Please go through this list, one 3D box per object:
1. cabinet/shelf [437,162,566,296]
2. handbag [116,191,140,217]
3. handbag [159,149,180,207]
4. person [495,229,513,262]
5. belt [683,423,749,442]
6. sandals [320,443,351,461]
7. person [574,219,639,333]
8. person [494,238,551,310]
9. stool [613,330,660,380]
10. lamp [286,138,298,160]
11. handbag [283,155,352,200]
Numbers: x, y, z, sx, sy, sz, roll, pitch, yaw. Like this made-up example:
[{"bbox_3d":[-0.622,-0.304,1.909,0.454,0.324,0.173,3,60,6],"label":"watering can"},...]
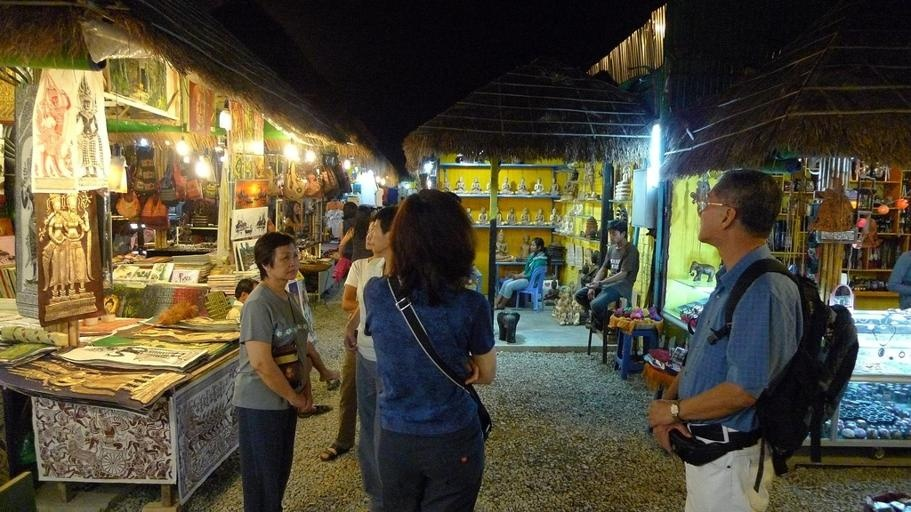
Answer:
[{"bbox_3d":[0.904,-0.591,10.749,3.161,2.686,0.993,0,-1,-5],"label":"cabinet/shelf"},{"bbox_3d":[-5.678,-0.896,10.293,0.459,0.559,0.317,1,-5,-27],"label":"handbag"},{"bbox_3d":[-5.426,-1.472,11.174,0.253,0.987,0.366,-1,4,-18],"label":"handbag"},{"bbox_3d":[1.033,-0.201,13.196,0.595,0.748,0.598,0,-2,-6],"label":"person"},{"bbox_3d":[2.149,1.482,4.953,0.282,0.087,0.202,1,1,7],"label":"belt"},{"bbox_3d":[-1.395,2.288,6.940,0.385,0.062,0.138,-9,24,-41],"label":"sandals"},{"bbox_3d":[2.658,0.377,10.094,0.818,1.939,1.121,-1,4,-13],"label":"person"},{"bbox_3d":[1.300,0.380,12.135,1.007,1.539,0.585,9,9,-9],"label":"person"},{"bbox_3d":[2.868,1.440,9.151,0.762,0.930,0.683,-1,8,-1],"label":"stool"},{"bbox_3d":[-2.798,-1.807,10.070,0.183,0.326,0.816,-1,4,-16],"label":"lamp"},{"bbox_3d":[-2.525,-1.437,10.811,0.760,0.452,1.108,-3,6,-25],"label":"handbag"}]
